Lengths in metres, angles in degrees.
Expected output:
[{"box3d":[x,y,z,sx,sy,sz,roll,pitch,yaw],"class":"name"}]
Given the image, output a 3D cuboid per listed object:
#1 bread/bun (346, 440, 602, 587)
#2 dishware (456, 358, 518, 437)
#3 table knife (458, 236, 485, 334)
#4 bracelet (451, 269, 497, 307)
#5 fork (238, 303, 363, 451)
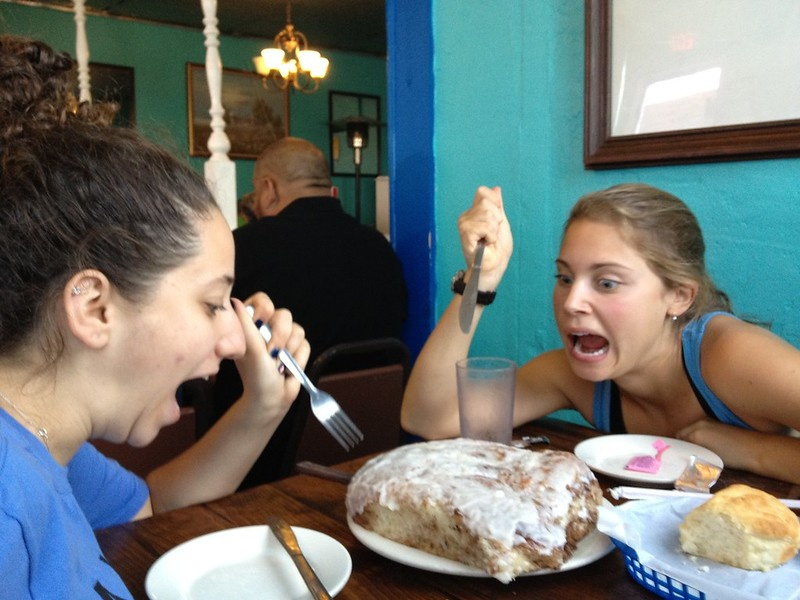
[{"box3d":[0.104,0.311,0.976,0.253,0.072,0.223,1,6,31],"class":"bread/bun"},{"box3d":[0.186,0.215,1.329,0.114,0.172,0.107,-3,12,-3],"class":"dishware"},{"box3d":[0.176,-0.030,1.570,0.039,0.035,0.352,4,30,7],"class":"table knife"},{"box3d":[0.210,-0.017,1.837,0.120,0.073,0.090,27,45,8],"class":"bracelet"},{"box3d":[-0.272,0.222,1.705,0.087,0.053,0.646,-37,69,-14],"class":"fork"}]
